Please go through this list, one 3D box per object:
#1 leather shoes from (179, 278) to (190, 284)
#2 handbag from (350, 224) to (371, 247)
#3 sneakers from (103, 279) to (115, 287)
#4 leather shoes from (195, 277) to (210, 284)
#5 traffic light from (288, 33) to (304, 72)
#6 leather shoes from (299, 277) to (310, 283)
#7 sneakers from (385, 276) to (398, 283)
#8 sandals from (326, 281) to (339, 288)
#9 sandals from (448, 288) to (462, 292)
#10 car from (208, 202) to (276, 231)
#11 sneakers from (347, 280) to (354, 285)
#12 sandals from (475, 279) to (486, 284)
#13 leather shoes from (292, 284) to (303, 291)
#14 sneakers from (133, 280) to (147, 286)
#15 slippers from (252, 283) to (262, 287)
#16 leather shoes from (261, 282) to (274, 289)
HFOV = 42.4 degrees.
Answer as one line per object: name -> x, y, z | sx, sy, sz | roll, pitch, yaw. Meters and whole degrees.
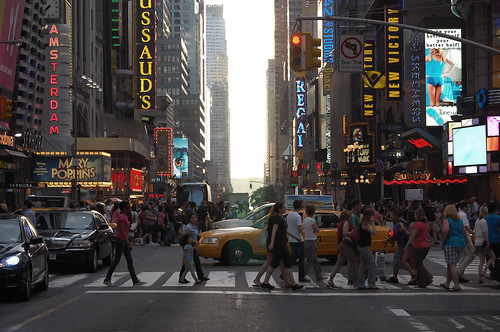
leather shoes -> -2.361, 4.066, 23.104 | 0.376, 0.160, 0.133 | 0, 0, 2
handbag -> 3.773, 2.481, 22.433 | 0.622, 0.885, 0.507 | 3, -35, 28
sneakers -> -4.957, 4.041, 22.546 | 0.452, 0.216, 0.180 | 15, 3, -5
leather shoes -> -1.711, 4.066, 23.052 | 0.536, 0.244, 0.176 | -7, 8, -23
traffic light -> 1.770, -4.361, 24.648 | 0.528, 1.571, 0.691 | -3, -3, 5
leather shoes -> 1.969, 4.076, 23.512 | 0.479, 0.215, 0.165 | 1, 0, -18
sneakers -> 5.249, 4.140, 23.755 | 0.562, 0.272, 0.199 | 3, -2, 16
sandals -> 2.861, 4.091, 22.542 | 0.446, 0.198, 0.169 | 7, 1, -8
sandals -> 7.037, 4.170, 22.056 | 0.389, 0.123, 0.156 | 4, -6, -5
car -> -0.336, 2.298, 29.973 | 2.925, 1.091, 1.315 | 0, -3, -2
sneakers -> 3.628, 4.133, 23.226 | 0.262, 0.190, 0.090 | -5, 1, 15
sandals -> 8.562, 4.193, 23.722 | 0.388, 0.176, 0.145 | -1, 1, -18
leather shoes -> 1.617, 4.079, 22.042 | 0.326, 0.142, 0.187 | -9, -2, 17
sneakers -> -3.859, 4.028, 22.571 | 0.532, 0.245, 0.186 | -1, 1, -4
slippers -> 0.251, 4.087, 22.487 | 0.363, 0.155, 0.115 | 4, -5, -7
leather shoes -> 0.595, 4.047, 22.161 | 0.499, 0.225, 0.182 | 9, 3, -16
